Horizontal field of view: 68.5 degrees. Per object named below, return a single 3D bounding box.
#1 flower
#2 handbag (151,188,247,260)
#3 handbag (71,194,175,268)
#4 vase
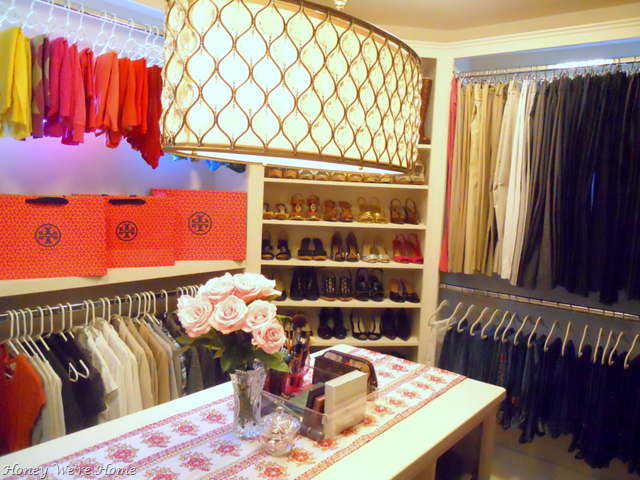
[{"bbox_3d":[-0.295,0.293,1.687,0.315,0.378,0.369,-1,-23,-1],"label":"flower"},{"bbox_3d":[-0.751,-0.049,2.944,0.573,0.465,0.321,-1,-15,-14],"label":"handbag"},{"bbox_3d":[-1.044,-0.062,2.680,0.399,0.406,0.268,-1,5,6],"label":"handbag"},{"bbox_3d":[-0.255,0.576,1.675,0.116,0.267,0.145,0,-24,-3],"label":"vase"}]
